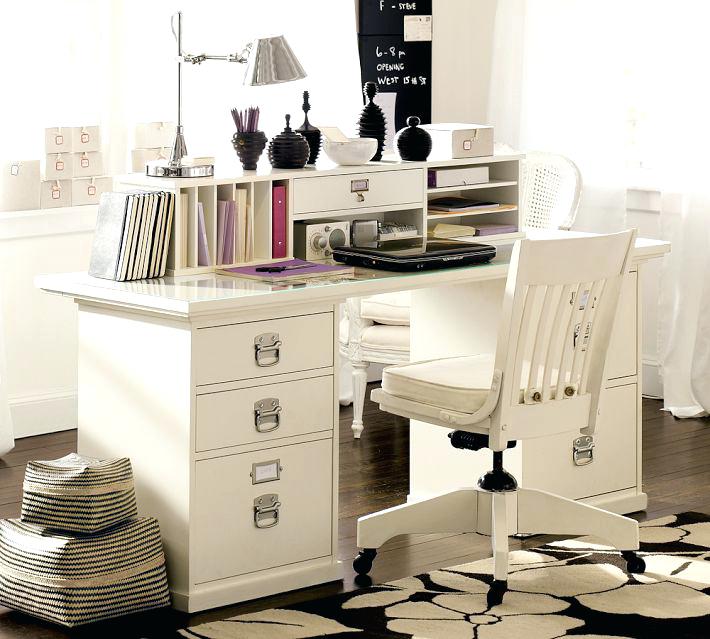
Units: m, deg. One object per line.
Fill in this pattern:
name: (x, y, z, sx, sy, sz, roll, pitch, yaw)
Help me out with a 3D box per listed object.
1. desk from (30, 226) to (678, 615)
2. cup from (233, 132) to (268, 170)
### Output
desk: (0.206, 0.235, 2.186, 1.528, 0.779, 0.958, -4, 3, -31)
cup: (-0.299, -0.482, 2.294, 0.108, 0.104, 0.104, 0, 2, 0)
